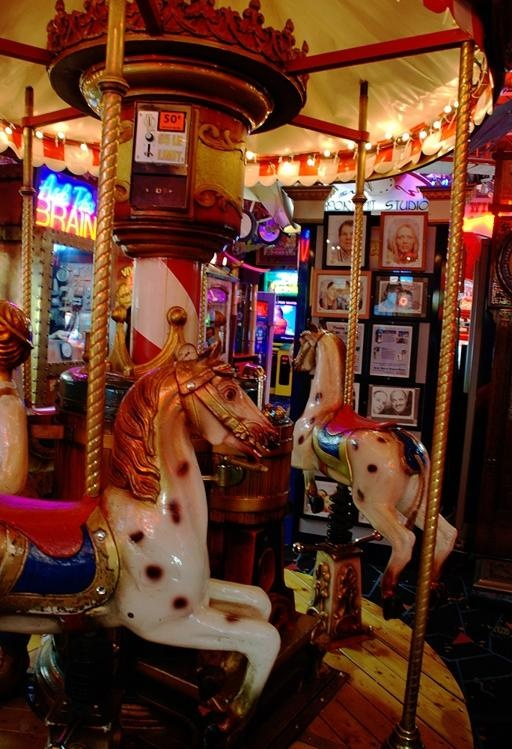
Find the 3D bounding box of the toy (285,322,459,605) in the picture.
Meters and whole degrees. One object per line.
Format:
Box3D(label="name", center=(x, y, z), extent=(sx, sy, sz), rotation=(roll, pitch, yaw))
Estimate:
Box3D(label="toy", center=(0.473, 0.303, 2.591), extent=(0.376, 0.703, 0.781), rotation=(3, 4, -30))
